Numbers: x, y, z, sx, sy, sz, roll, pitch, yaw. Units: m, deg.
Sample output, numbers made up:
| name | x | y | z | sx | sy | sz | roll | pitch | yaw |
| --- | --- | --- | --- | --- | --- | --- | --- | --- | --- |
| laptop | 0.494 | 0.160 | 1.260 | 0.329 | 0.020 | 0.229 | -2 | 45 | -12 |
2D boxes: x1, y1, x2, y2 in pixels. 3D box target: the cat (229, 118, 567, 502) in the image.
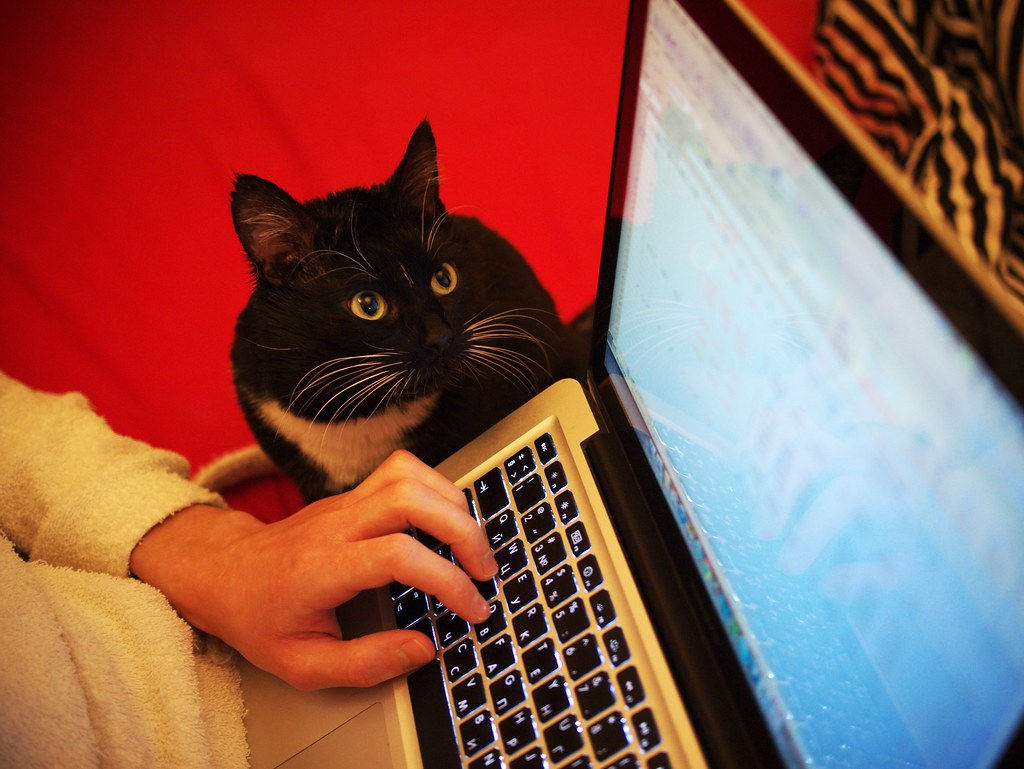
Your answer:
| name | x | y | z | sx | sy | sz | roll | pitch | yaw |
| --- | --- | --- | --- | --- | --- | --- | --- | --- | --- |
| cat | -0.200 | -0.208 | 1.224 | 0.318 | 0.530 | 0.432 | -22 | -46 | 9 |
